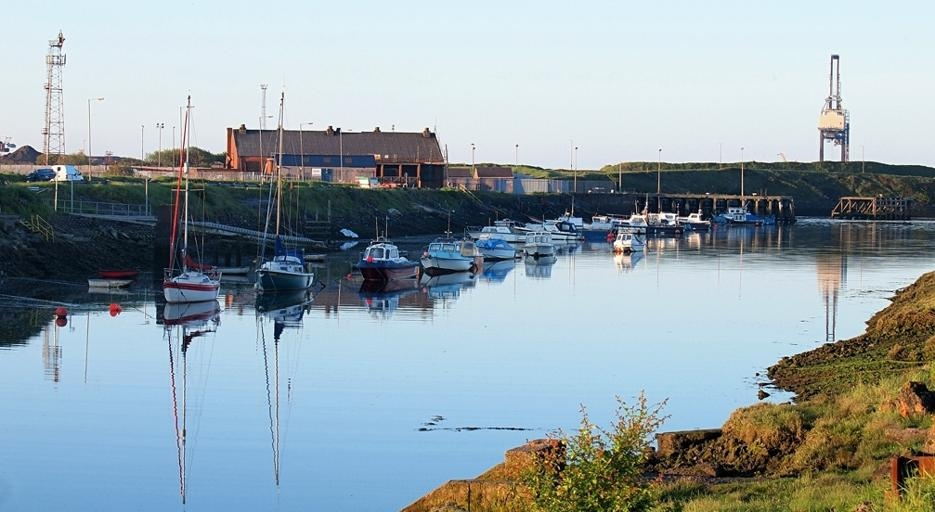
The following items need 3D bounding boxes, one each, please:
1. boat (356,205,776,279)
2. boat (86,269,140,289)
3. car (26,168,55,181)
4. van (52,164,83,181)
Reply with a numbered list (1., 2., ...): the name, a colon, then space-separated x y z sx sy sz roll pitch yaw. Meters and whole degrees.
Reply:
1. boat: 9.238 -1.257 185.324 60.953 8.862 13.597 0 0 -6
2. boat: -32.172 2.139 151.075 3.578 1.304 4.411 0 14 2
3. car: -45.773 -8.463 179.820 2.578 1.191 3.612 0 1 -17
4. van: -42.473 -8.436 178.797 2.446 1.594 3.320 2 5 20
